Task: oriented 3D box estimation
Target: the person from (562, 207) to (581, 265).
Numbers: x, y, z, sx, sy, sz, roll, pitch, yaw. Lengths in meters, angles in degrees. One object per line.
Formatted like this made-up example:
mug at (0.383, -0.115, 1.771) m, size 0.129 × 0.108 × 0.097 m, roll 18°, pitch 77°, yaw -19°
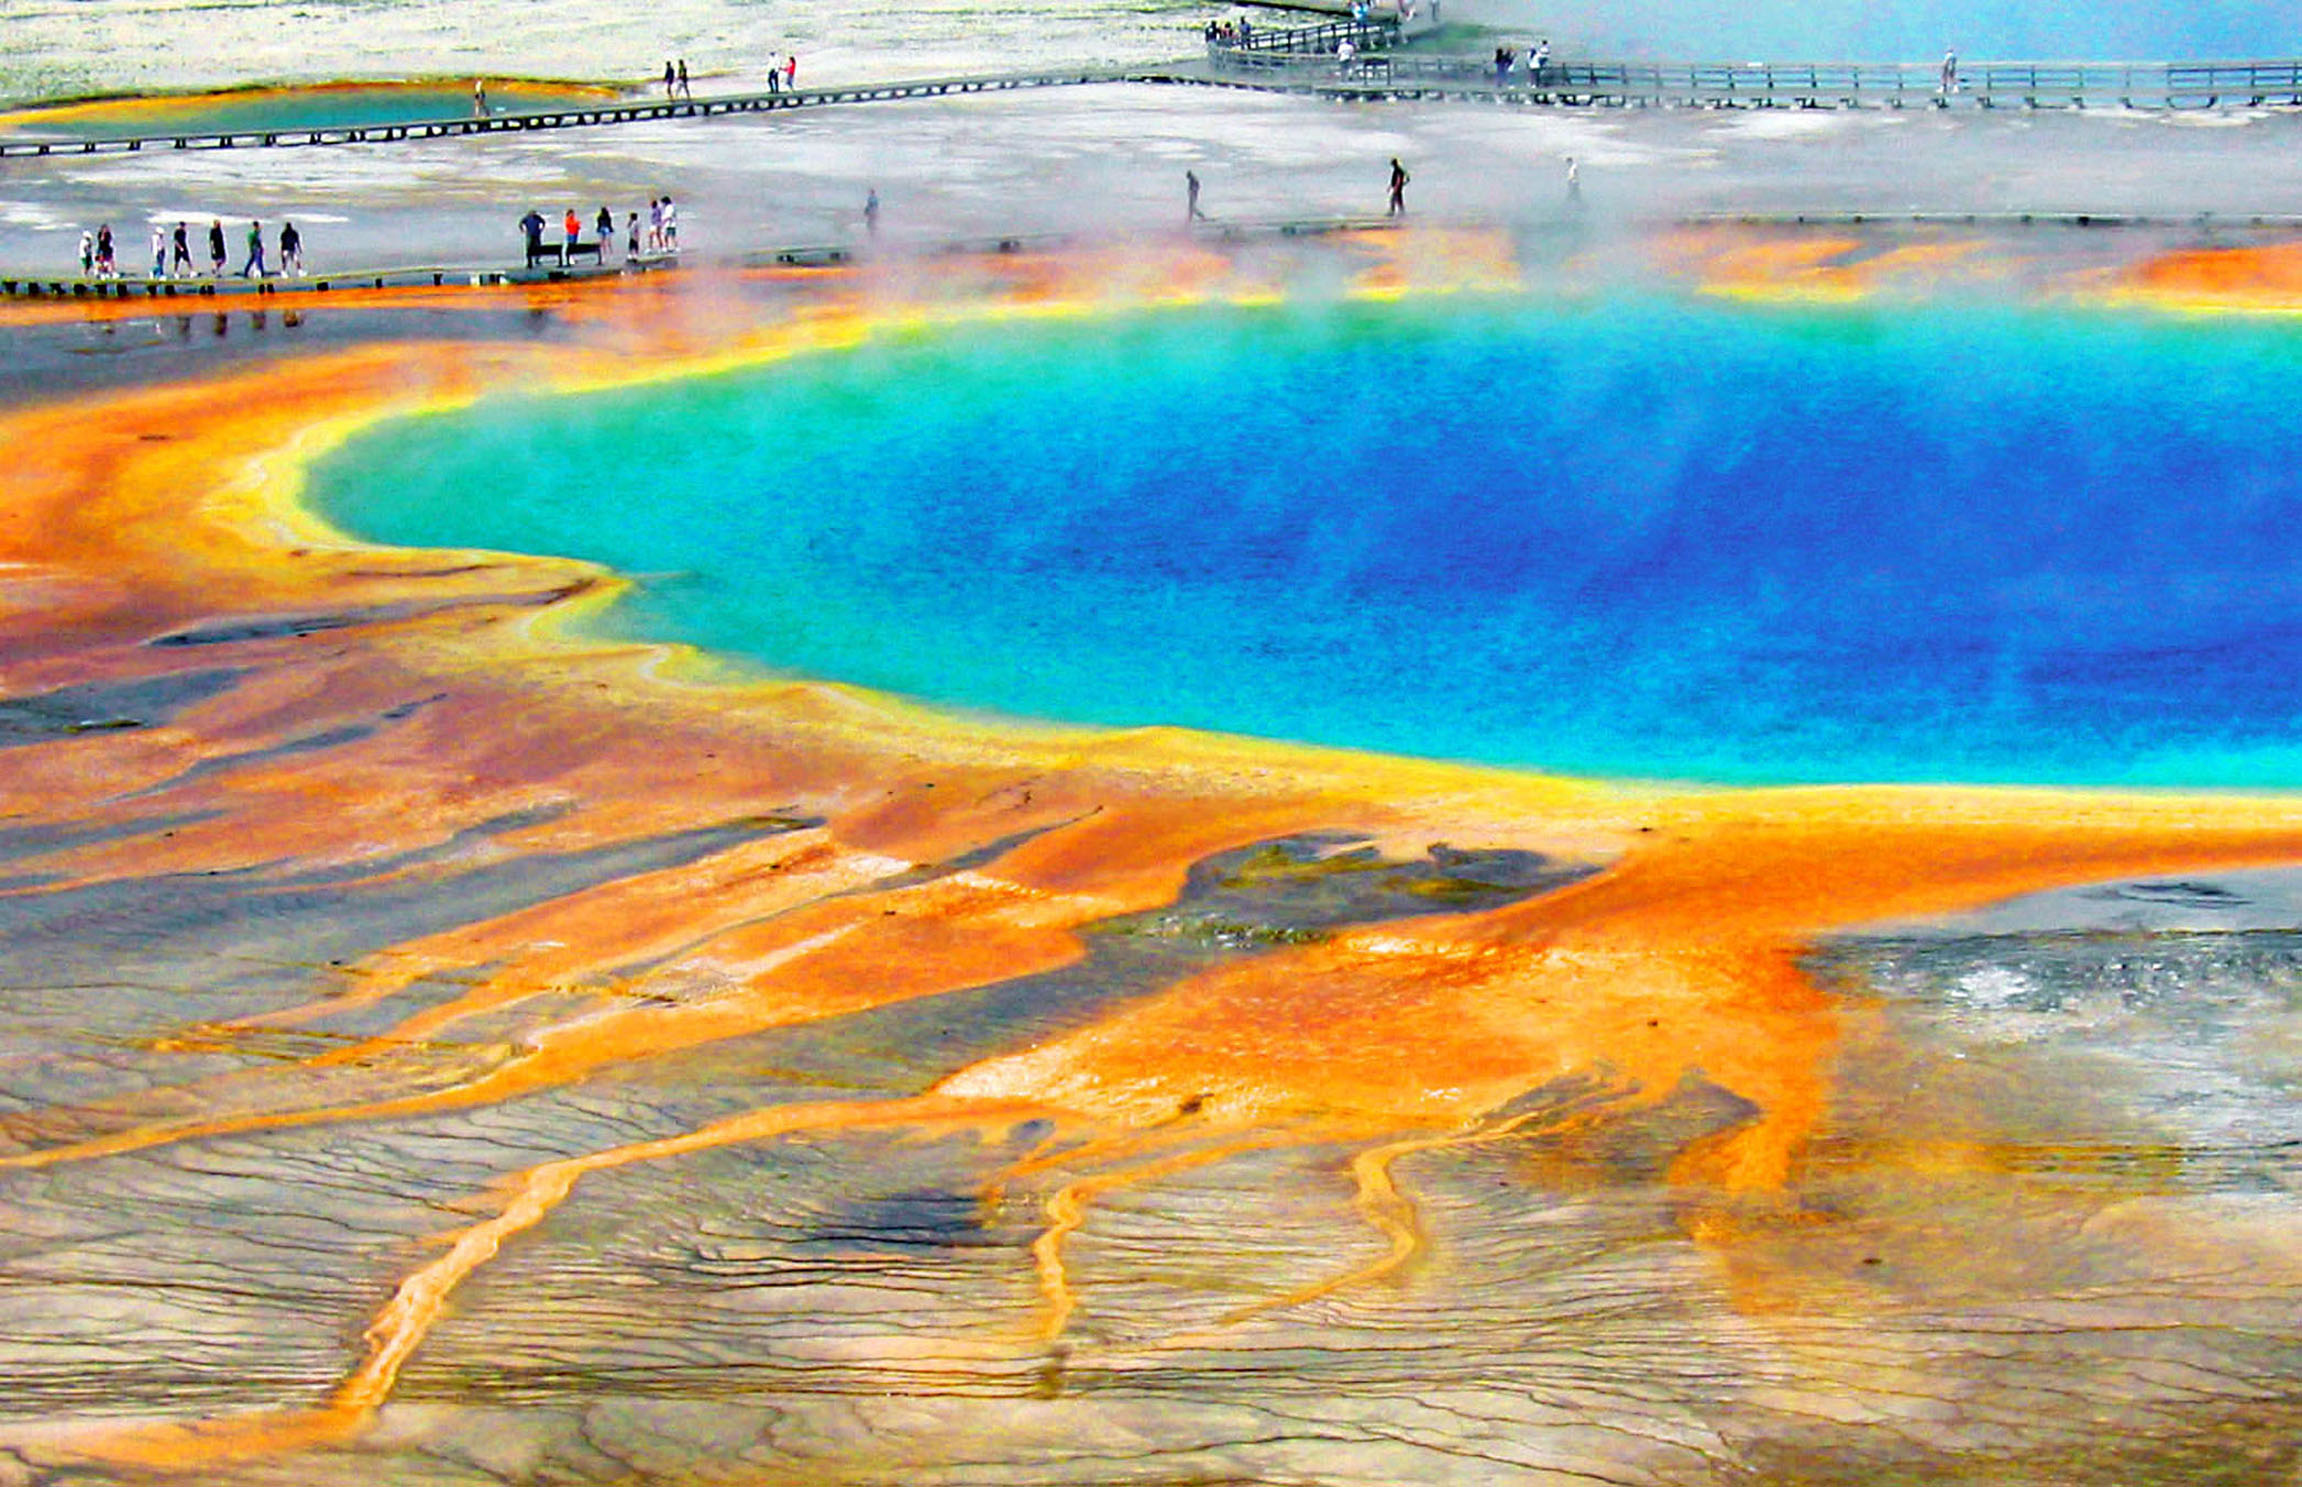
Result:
person at (-9.623, -8.395, 36.910) m, size 0.298 × 0.847 × 0.769 m, roll 0°, pitch 17°, yaw -13°
